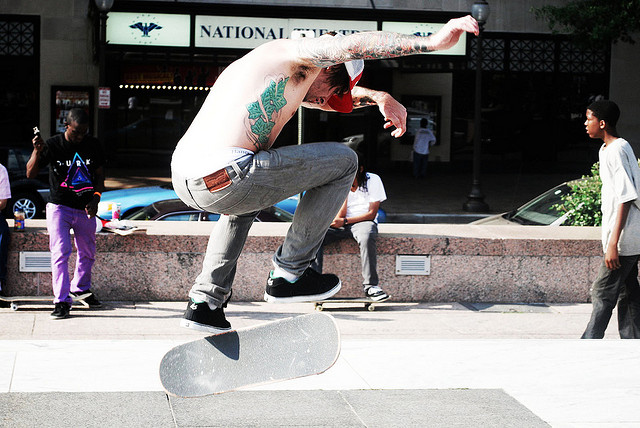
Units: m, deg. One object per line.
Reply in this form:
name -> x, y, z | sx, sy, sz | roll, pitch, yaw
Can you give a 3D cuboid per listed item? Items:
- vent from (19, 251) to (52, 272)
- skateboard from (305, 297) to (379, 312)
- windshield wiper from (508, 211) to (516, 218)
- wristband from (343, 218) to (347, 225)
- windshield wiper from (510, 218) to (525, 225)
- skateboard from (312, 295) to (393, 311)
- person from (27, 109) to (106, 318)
vent -> -3.584, 0.573, 9.426 | 0.325, 0.173, 0.032 | 0, 10, -5
skateboard -> 0.257, 1.095, 9.526 | 1.153, 0.181, 0.430 | 0, 2, -4
windshield wiper -> 2.925, -0.005, 11.527 | 0.102, 0.054, 0.269 | 8, 16, 29
wristband -> 0.317, 0.090, 9.683 | 0.046, 0.062, 0.060 | 3, 7, -3
windshield wiper -> 2.950, 0.107, 11.205 | 0.110, 0.040, 0.076 | 21, 17, -9
skateboard -> 0.256, 1.087, 9.556 | 1.413, 0.185, 0.411 | -1, 1, -4
person -> -2.991, -0.017, 9.008 | 0.549, 2.388, 0.955 | 10, 17, 34
